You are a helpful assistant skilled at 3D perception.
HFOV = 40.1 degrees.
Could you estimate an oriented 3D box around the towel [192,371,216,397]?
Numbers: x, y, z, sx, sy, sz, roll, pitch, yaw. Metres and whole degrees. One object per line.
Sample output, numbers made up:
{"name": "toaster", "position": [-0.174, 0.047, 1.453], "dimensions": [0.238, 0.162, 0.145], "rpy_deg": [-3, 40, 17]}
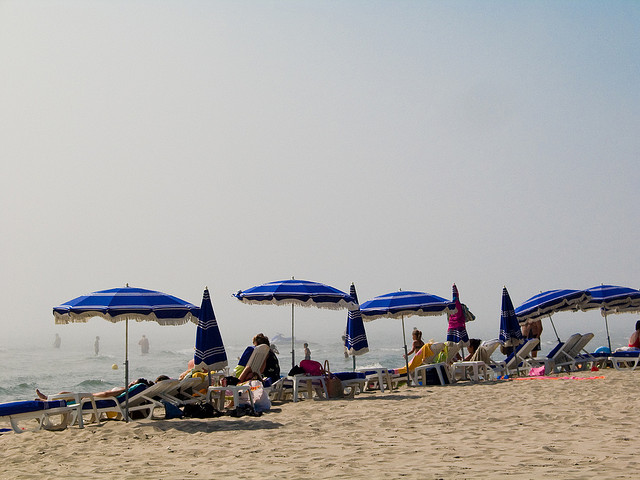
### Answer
{"name": "towel", "position": [-2.247, 2.771, 16.990], "dimensions": [0.381, 0.611, 0.312], "rpy_deg": [4, -8, -5]}

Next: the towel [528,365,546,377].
{"name": "towel", "position": [5.063, 3.085, 20.533], "dimensions": [0.402, 0.271, 0.736], "rpy_deg": [-1, 1, 14]}

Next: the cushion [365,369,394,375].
{"name": "cushion", "position": [1.238, 2.819, 18.662], "dimensions": [0.586, 0.152, 0.131], "rpy_deg": [2, -25, -4]}

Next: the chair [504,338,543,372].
{"name": "chair", "position": [4.803, 2.770, 20.868], "dimensions": [0.955, 0.685, 0.568], "rpy_deg": [-2, -7, 8]}

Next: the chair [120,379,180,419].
{"name": "chair", "position": [-3.025, 2.834, 15.607], "dimensions": [0.774, 0.589, 0.642], "rpy_deg": [-4, -10, 14]}

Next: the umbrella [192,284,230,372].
{"name": "umbrella", "position": [-2.015, 1.664, 16.114], "dimensions": [0.612, 1.460, 0.486], "rpy_deg": [-1, 1, -3]}

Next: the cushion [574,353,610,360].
{"name": "cushion", "position": [6.831, 2.884, 21.794], "dimensions": [0.718, 0.069, 1.165], "rpy_deg": [-1, 1, 34]}

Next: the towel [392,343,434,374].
{"name": "towel", "position": [2.027, 2.662, 19.304], "dimensions": [1.162, 0.569, 0.423], "rpy_deg": [-18, -18, 15]}

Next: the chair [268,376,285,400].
{"name": "chair", "position": [-0.854, 2.865, 17.018], "dimensions": [0.149, 0.422, 0.289], "rpy_deg": [24, -24, -36]}

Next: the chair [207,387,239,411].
{"name": "chair", "position": [-1.815, 2.978, 16.418], "dimensions": [0.532, 0.473, 0.580], "rpy_deg": [0, -14, -3]}

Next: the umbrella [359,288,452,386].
{"name": "umbrella", "position": [1.937, 2.248, 20.048], "dimensions": [1.917, 2.344, 1.928], "rpy_deg": [-3, 0, -26]}

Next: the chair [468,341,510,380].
{"name": "chair", "position": [3.825, 2.765, 20.520], "dimensions": [1.126, 0.806, 0.765], "rpy_deg": [-6, -4, 15]}

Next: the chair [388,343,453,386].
{"name": "chair", "position": [2.161, 2.758, 19.258], "dimensions": [1.165, 0.874, 0.841], "rpy_deg": [-5, -11, 22]}

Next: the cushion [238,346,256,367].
{"name": "cushion", "position": [-1.407, 2.211, 16.851], "dimensions": [0.086, 0.350, 0.322], "rpy_deg": [24, -18, -19]}

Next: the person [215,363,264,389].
{"name": "person", "position": [-1.515, 2.609, 16.433], "dimensions": [0.699, 0.352, 0.532], "rpy_deg": [-3, -6, 6]}

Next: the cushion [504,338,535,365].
{"name": "cushion", "position": [4.748, 2.655, 21.175], "dimensions": [0.548, 0.469, 1.455], "rpy_deg": [-1, 1, 14]}

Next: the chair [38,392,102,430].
{"name": "chair", "position": [-4.237, 2.891, 15.221], "dimensions": [0.656, 0.611, 0.883], "rpy_deg": [-5, -5, -4]}
